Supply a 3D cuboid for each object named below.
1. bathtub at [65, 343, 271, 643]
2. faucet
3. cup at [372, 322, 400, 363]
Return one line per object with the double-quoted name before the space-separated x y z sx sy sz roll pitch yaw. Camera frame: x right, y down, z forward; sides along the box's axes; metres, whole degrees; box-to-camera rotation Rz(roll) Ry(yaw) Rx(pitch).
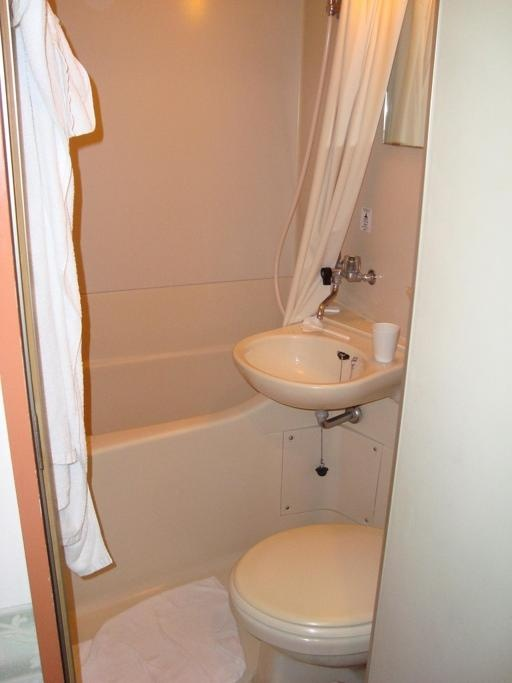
"bathtub" -0.294 0.441 1.843 0.860 0.758 0.515 -8 13 -20
"faucet" 0.286 -0.184 1.706 0.189 0.214 0.245 -2 17 -5
"cup" 0.345 0.000 1.417 0.077 0.115 0.089 0 7 3
